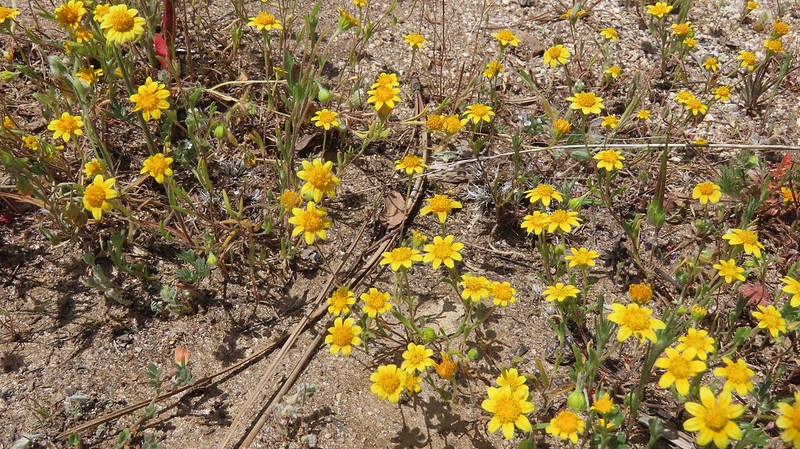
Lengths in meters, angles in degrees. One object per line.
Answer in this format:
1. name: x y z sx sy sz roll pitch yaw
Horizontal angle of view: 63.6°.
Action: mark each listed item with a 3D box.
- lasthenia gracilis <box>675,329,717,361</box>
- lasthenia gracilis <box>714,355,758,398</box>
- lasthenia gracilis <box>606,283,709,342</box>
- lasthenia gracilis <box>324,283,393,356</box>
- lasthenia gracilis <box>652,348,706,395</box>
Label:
1. lasthenia gracilis: 1.922 0.799 4.191 0.243 0.062 0.232 16 60 34
2. lasthenia gracilis: 2.142 0.959 4.084 0.261 0.064 0.231 -33 56 -29
3. lasthenia gracilis: 1.628 0.620 4.121 0.484 0.174 0.477 15 52 21
4. lasthenia gracilis: -0.292 0.749 4.541 0.498 0.198 0.488 -22 55 -8
5. lasthenia gracilis: 1.803 0.979 4.282 0.372 0.583 0.295 1 78 -2
